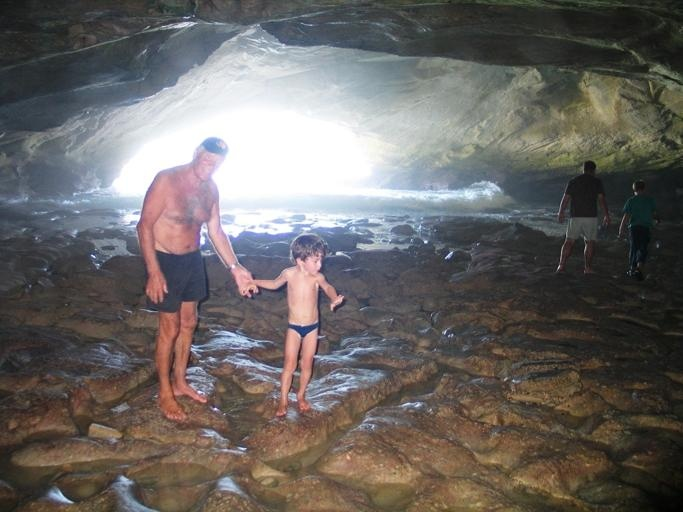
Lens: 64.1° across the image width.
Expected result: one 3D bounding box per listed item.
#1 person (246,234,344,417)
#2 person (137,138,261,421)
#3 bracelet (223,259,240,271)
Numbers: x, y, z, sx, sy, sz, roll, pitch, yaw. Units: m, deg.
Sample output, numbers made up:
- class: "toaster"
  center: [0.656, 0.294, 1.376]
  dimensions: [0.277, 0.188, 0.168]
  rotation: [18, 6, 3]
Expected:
- class: "person"
  center: [-0.438, 0.697, 5.840]
  dimensions: [0.743, 1.867, 0.619]
  rotation: [-3, 12, -27]
- class: "person"
  center: [-1.624, 0.211, 5.769]
  dimensions: [0.678, 2.884, 0.985]
  rotation: [10, 13, 37]
- class: "bracelet"
  center: [-1.219, 0.109, 6.094]
  dimensions: [0.164, 0.061, 0.153]
  rotation: [-3, 5, -1]
